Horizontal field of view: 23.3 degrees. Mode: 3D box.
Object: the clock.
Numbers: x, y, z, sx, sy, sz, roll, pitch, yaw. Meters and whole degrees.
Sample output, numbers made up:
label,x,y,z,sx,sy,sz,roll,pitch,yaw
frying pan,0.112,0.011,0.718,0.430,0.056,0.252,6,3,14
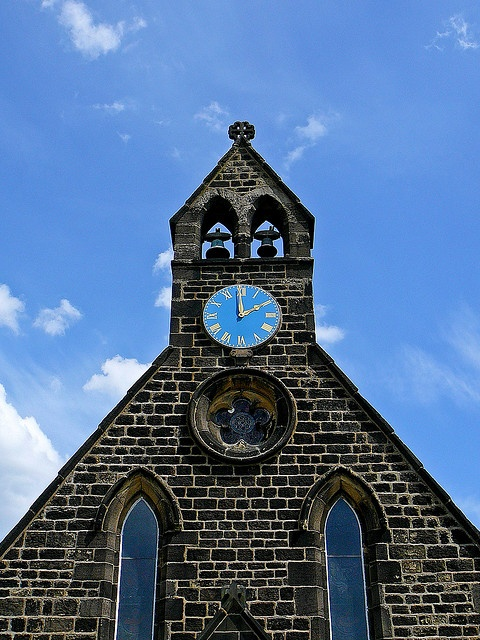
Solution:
label,x,y,z,sx,sy,sz,roll,pitch,yaw
clock,-0.009,0.045,20.316,1.404,1.690,0.165,-1,-42,1
